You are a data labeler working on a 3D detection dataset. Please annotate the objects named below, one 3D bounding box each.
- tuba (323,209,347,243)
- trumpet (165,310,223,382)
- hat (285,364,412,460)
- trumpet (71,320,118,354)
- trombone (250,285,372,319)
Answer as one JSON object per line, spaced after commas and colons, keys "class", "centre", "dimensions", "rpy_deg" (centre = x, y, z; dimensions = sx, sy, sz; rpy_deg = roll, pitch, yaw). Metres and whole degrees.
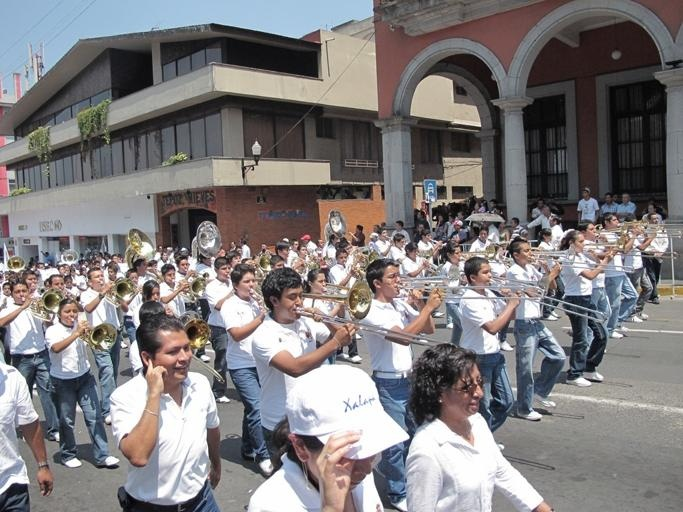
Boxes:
{"class": "tuba", "centre": [-0.204, -0.884, 22.377], "dimensions": [0.803, 0.983, 0.890], "rpy_deg": [-7, -13, -28]}
{"class": "trumpet", "centre": [-1.669, 1.222, 7.636], "dimensions": [0.318, 0.908, 0.330], "rpy_deg": [27, 41, 17]}
{"class": "hat", "centre": [0.026, 1.063, 4.598], "dimensions": [0.789, 0.498, 0.241], "rpy_deg": [-2, 1, -5]}
{"class": "trumpet", "centre": [-3.192, 1.052, 8.892], "dimensions": [0.471, 0.316, 0.277], "rpy_deg": [6, -8, 45]}
{"class": "trombone", "centre": [-0.018, 0.468, 7.357], "dimensions": [0.619, 0.372, 0.369], "rpy_deg": [-1, 3, 24]}
